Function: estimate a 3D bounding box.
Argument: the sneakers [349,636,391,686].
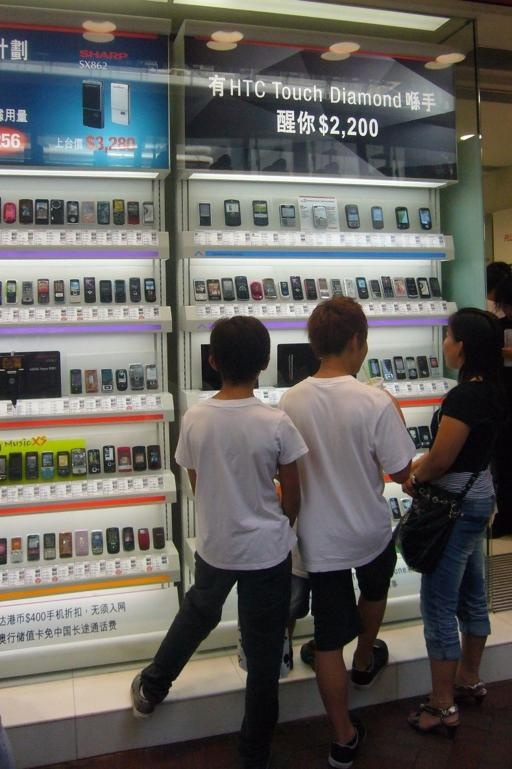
[{"bbox_3d":[0.467,1.108,2.428,0.086,0.097,0.217,6,34,24],"label":"sneakers"}]

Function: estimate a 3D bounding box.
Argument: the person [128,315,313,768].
[{"bbox_3d":[-0.113,0.481,1.861,0.567,1.356,0.345,-7,9,-4],"label":"person"}]

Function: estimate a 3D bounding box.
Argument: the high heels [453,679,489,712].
[{"bbox_3d":[0.826,1.198,2.314,0.157,0.082,0.064,12,-15,-9],"label":"high heels"}]

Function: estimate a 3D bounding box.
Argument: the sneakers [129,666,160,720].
[{"bbox_3d":[-0.401,1.101,2.167,0.070,0.091,0.203,7,14,-12],"label":"sneakers"}]
